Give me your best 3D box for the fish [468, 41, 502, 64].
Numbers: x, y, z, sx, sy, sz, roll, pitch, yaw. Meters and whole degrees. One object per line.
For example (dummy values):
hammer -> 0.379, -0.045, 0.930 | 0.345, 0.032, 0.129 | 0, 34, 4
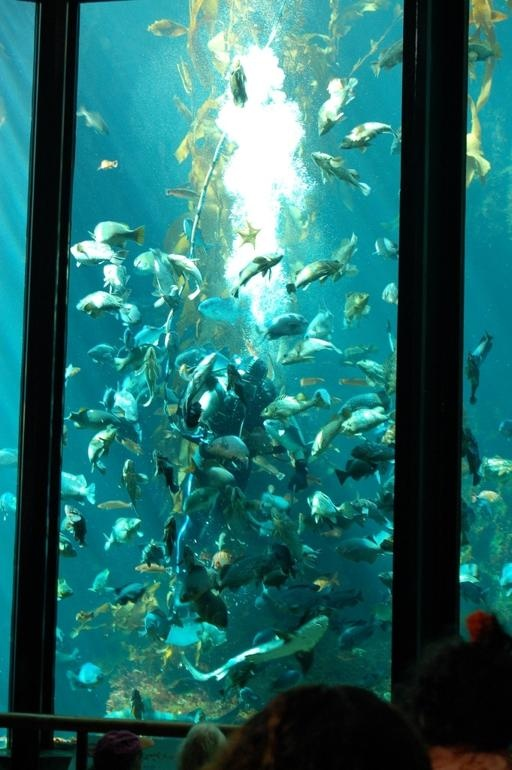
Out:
fish -> 0.701, -1.029, 2.355 | 0.108, 0.055, 0.065 | -4, 2, -27
